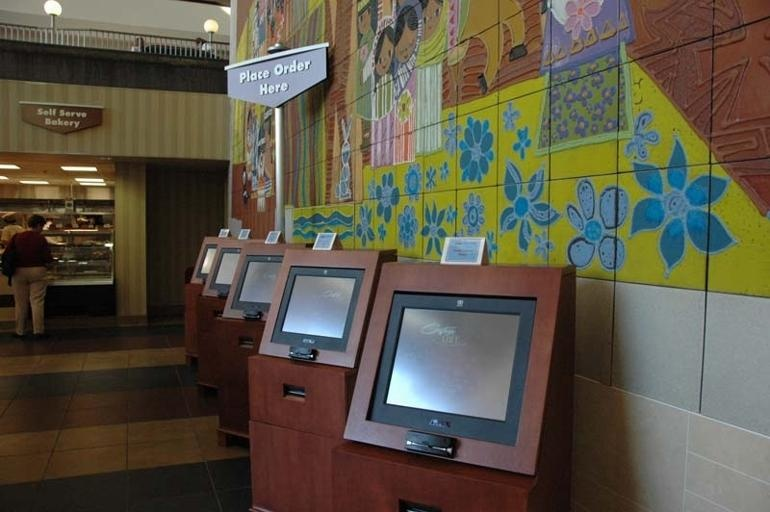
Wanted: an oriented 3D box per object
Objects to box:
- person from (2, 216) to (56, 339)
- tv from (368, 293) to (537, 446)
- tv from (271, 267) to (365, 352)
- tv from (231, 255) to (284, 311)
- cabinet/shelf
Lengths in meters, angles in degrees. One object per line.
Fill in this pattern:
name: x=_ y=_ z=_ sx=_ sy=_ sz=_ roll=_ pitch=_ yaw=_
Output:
person: x=-5.235 y=0.309 z=8.590 sx=0.591 sy=1.799 sz=0.658 roll=-1 pitch=4 yaw=-33
tv: x=0.347 y=0.575 z=2.828 sx=0.661 sy=0.674 sz=0.089 roll=5 pitch=-19 yaw=35
tv: x=-0.395 y=0.351 z=3.594 sx=0.503 sy=0.482 sz=0.037 roll=1 pitch=-25 yaw=36
tv: x=-1.012 y=0.232 z=4.691 sx=0.380 sy=0.478 sz=0.058 roll=11 pitch=-34 yaw=17
cabinet/shelf: x=-5.540 y=0.363 z=10.363 sx=1.430 sy=1.971 sz=0.928 roll=1 pitch=-3 yaw=-28
